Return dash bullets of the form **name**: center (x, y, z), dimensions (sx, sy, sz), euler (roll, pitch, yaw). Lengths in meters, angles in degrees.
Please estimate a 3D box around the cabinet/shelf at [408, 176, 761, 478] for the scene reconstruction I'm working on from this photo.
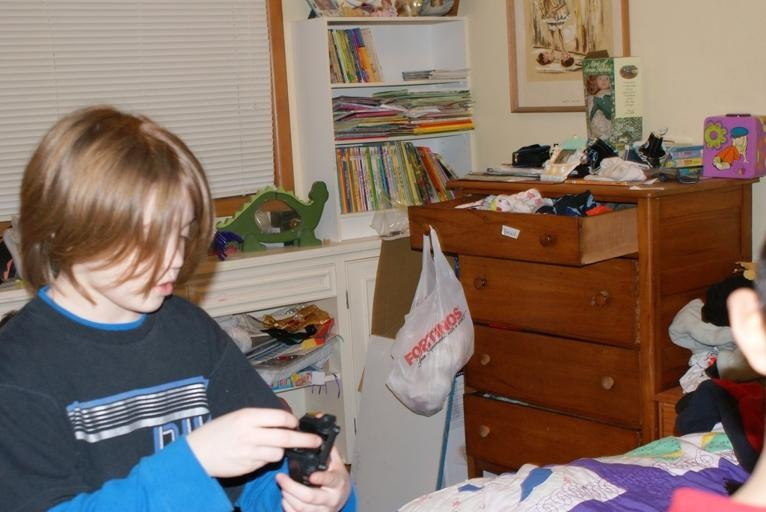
- **cabinet/shelf**: center (0.722, 0.226, 3.009), dimensions (1.296, 1.646, 1.207), euler (-11, 14, -41)

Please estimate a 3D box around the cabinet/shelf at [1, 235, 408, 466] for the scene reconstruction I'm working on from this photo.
- **cabinet/shelf**: center (-0.463, 0.243, 1.760), dimensions (1.029, 0.928, 0.324), euler (-10, 15, -36)

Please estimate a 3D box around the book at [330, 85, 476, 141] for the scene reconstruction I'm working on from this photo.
- **book**: center (0.106, -0.763, 3.163), dimensions (0.747, 0.230, 0.240), euler (-7, 15, -5)
